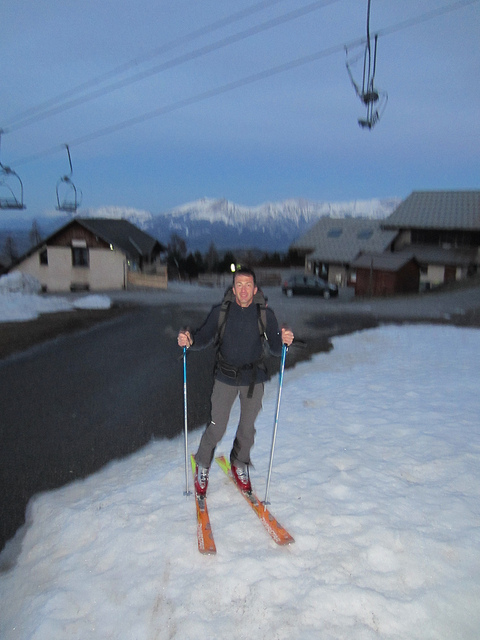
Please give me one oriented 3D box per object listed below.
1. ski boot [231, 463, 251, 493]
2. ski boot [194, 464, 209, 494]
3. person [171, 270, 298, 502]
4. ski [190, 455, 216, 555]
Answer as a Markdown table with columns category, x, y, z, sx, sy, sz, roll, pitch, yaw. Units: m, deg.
| category | x | y | z | sx | sy | sz | roll | pitch | yaw |
| --- | --- | --- | --- | --- | --- | --- | --- | --- | --- |
| ski boot | -0.001 | 1.831 | 5.480 | 0.120 | 0.457 | 0.145 | -18 | 8 | -5 |
| ski boot | -0.438 | 1.787 | 5.344 | 0.093 | 0.186 | 0.358 | 11 | 6 | -5 |
| person | -0.106 | 0.807 | 5.265 | 1.086 | 2.661 | 1.011 | 2 | 21 | -7 |
| ski | -0.410 | 1.950 | 5.101 | 0.118 | 0.085 | 1.381 | 9 | 19 | -13 |
